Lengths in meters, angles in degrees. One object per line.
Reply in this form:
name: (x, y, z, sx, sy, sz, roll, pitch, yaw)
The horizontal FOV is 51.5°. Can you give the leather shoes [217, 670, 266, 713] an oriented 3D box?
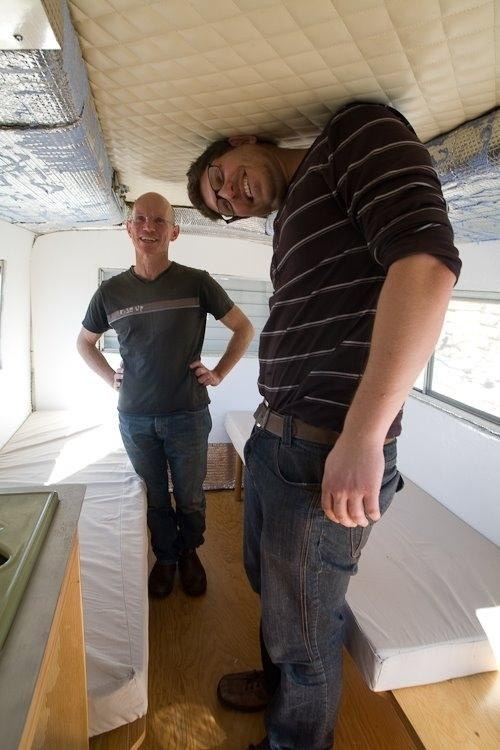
leather shoes: (-0.026, 1.066, 1.721, 0.149, 0.052, 0.081, 4, 21, -20)
